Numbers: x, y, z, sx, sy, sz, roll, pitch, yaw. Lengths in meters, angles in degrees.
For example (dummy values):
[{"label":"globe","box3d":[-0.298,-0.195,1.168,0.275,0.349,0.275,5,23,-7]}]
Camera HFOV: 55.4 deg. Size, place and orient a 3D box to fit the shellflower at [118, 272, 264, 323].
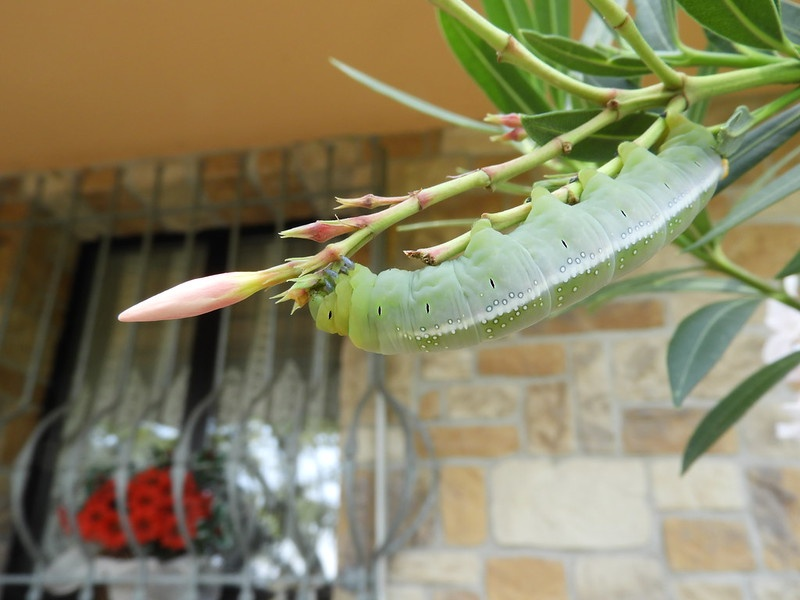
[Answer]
[{"label":"shellflower","box3d":[-0.209,-0.003,0.769,0.149,0.048,0.039,-10,34,0]}]
